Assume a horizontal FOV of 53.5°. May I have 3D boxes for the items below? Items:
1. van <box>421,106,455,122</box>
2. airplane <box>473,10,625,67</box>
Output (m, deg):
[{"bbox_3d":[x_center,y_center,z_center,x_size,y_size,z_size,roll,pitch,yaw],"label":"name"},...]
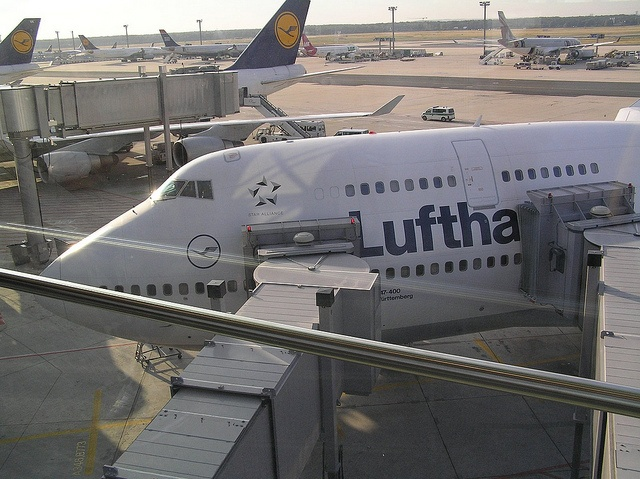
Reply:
[{"bbox_3d":[11.069,-11.625,58.819,2.361,0.994,1.679,6,18,23],"label":"van"},{"bbox_3d":[44.846,-35.815,115.534,22.938,9.276,15.183,15,24,40],"label":"airplane"}]
